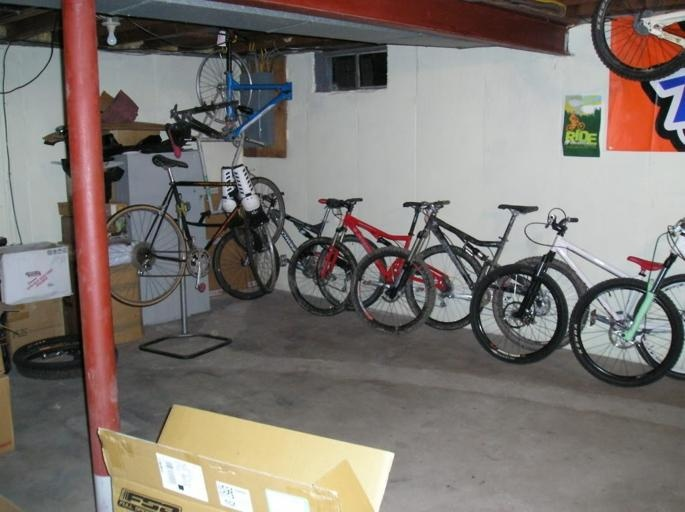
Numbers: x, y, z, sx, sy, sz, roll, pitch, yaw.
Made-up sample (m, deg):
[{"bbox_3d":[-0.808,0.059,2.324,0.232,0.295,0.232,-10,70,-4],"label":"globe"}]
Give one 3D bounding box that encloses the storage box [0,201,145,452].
[{"bbox_3d":[-2.449,0.207,5.036,1.089,1.288,0.646,-12,19,-43],"label":"storage box"}]
